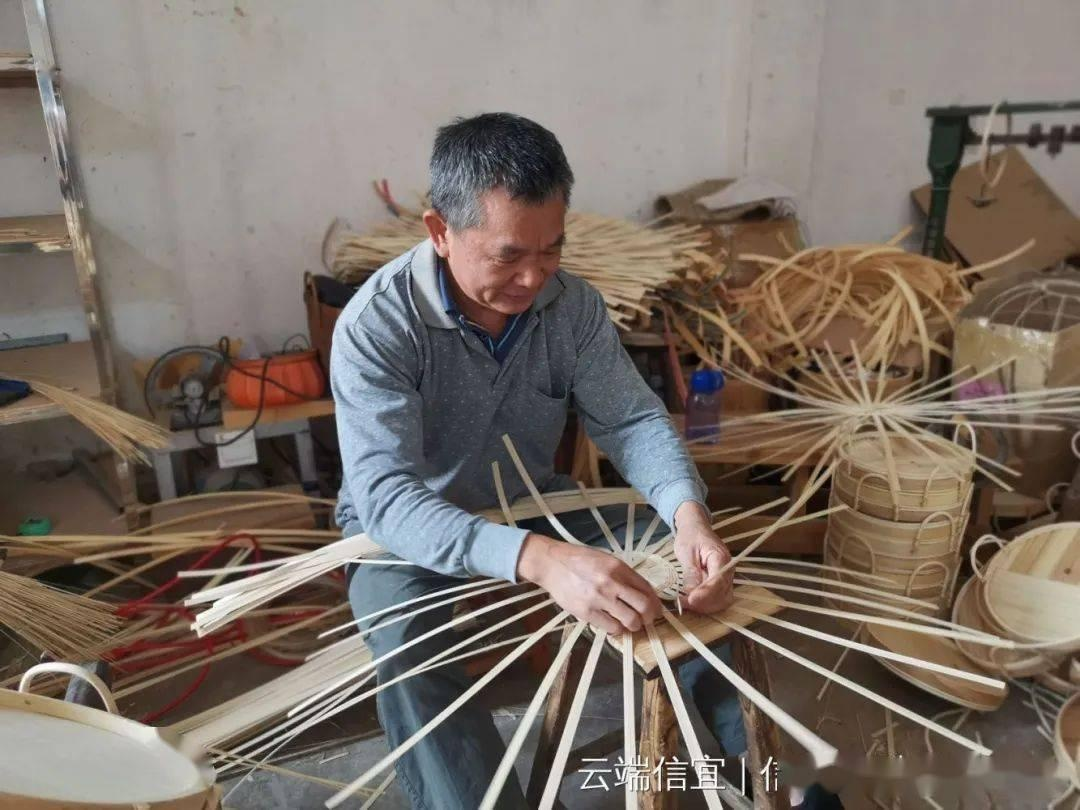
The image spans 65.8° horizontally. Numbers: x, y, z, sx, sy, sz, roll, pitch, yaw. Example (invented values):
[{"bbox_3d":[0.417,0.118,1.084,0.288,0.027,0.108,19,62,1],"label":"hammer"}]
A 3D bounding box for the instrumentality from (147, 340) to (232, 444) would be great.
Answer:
[{"bbox_3d":[-1.492,-0.077,3.548,0.345,0.314,0.340,-10,15,-25],"label":"instrumentality"}]

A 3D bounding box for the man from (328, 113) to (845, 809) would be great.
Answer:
[{"bbox_3d":[-0.139,0.020,2.519,1.051,0.975,1.273,-18,40,-33],"label":"man"}]
